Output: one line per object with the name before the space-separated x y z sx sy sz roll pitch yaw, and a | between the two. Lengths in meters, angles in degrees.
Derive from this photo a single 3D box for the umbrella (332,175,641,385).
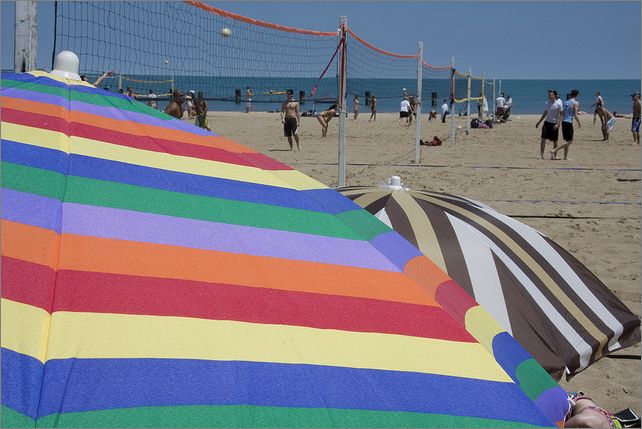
umbrella | 0.949 0.080 4.035 1.211 0.583 1.280 0 12 -27

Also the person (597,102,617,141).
person | 7.267 -2.345 17.423 0.413 0.944 1.597 6 16 21
